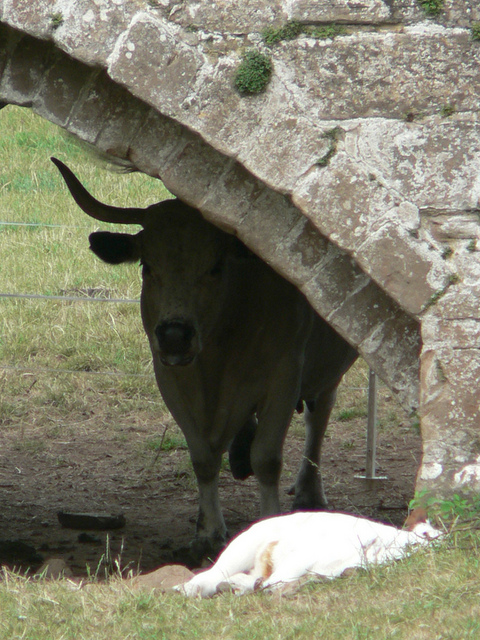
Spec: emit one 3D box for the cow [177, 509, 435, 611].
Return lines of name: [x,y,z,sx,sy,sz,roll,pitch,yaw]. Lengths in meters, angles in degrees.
cow: [0.226,0.798,5.348,0.867,0.213,0.434,-5,3,10]

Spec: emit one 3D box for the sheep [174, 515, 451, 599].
sheep: [0.275,0.811,5.414,0.602,0.193,0.292,-6,5,13]

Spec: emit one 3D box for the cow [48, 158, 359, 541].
cow: [0.077,0.138,6.828,1.467,1.143,0.778,-8,4,-40]
